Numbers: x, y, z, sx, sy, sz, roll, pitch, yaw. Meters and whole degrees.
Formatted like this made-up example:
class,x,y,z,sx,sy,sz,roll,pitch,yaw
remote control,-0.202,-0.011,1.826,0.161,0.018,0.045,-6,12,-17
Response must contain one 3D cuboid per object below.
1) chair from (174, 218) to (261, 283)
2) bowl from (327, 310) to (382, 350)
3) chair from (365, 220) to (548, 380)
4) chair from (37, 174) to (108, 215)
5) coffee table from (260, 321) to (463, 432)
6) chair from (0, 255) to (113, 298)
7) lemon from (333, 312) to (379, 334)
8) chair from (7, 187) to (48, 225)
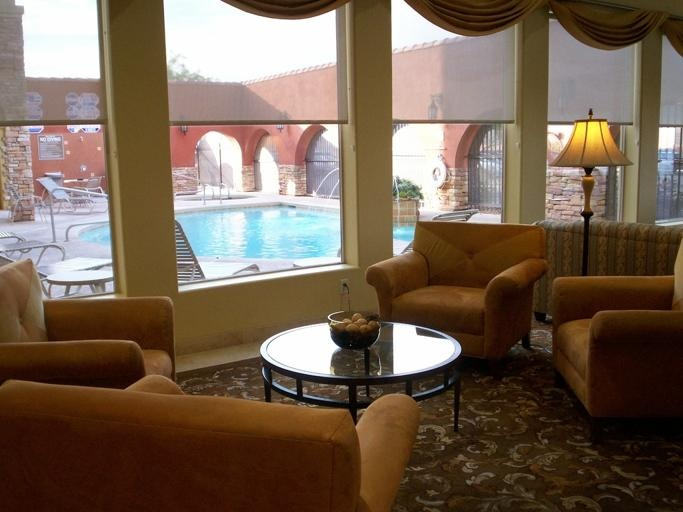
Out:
class,x,y,z,sx,sy,sz,roll,pitch,yaw
chair,-1.204,-0.052,5.357,0.392,0.494,1.020,0,7,26
bowl,0.092,0.451,3.361,0.370,0.209,0.369,7,0,0
chair,0.964,0.321,4.675,1.491,1.231,1.108,4,6,32
chair,-2.212,-0.538,4.762,0.612,0.313,0.316,4,10,8
coffee table,0.093,0.587,3.193,0.829,0.395,0.832,1,11,17
chair,-2.332,0.155,4.791,0.943,0.377,0.334,-1,14,-9
lemon,0.090,0.388,3.220,0.149,0.058,0.150,-3,3,19
chair,-2.571,-0.397,4.704,0.269,0.339,0.228,-1,8,-7
